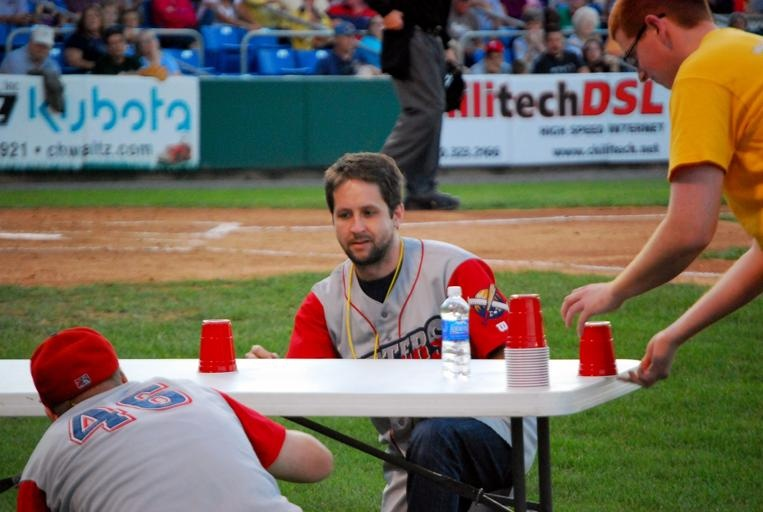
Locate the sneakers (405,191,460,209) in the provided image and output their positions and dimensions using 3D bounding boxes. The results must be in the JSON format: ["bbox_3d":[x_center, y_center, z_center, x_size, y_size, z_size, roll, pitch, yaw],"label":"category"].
[{"bbox_3d":[0.437,-0.449,7.770,0.302,0.112,0.187,-1,0,0],"label":"sneakers"}]

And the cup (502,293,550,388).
[{"bbox_3d":[0.612,0.362,3.827,0.192,0.393,0.210,-1,19,0],"label":"cup"}]

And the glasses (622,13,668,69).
[{"bbox_3d":[1.056,-0.880,3.808,0.176,0.048,0.174,44,40,8],"label":"glasses"}]

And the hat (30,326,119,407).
[{"bbox_3d":[-1.218,0.422,3.753,0.257,0.207,0.358,-22,20,7],"label":"hat"}]
